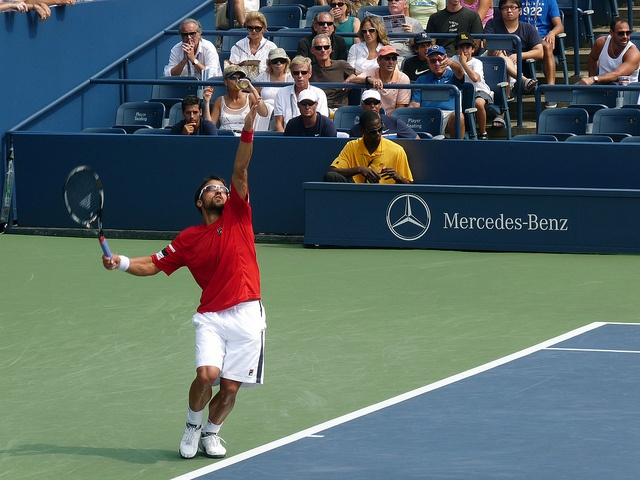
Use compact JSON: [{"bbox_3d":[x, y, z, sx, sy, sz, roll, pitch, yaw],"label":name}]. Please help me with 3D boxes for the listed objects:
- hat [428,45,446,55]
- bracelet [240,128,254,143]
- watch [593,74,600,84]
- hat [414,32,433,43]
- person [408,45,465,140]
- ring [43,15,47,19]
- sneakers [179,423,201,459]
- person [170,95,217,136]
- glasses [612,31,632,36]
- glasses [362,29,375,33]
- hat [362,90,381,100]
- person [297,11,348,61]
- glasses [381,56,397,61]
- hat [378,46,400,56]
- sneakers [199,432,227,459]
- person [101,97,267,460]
[{"bbox_3d":[1.819,-3.054,14.154,0.210,0.157,0.293,-5,-2,12],"label":"hat"},{"bbox_3d":[-0.504,-0.725,6.129,0.126,0.098,0.096,-1,13,1],"label":"bracelet"},{"bbox_3d":[4.536,-2.678,14.748,0.062,0.086,0.094,2,53,-7],"label":"watch"},{"bbox_3d":[1.681,-3.387,14.850,0.268,0.184,0.361,0,13,4],"label":"hat"},{"bbox_3d":[1.809,-2.322,13.878,0.828,1.373,1.421,1,13,8],"label":"person"},{"bbox_3d":[-4.396,-3.584,14.210,0.010,0.039,0.042,40,29,31],"label":"ring"},{"bbox_3d":[-0.882,1.360,6.014,0.109,0.112,0.287,6,49,-6],"label":"sneakers"},{"bbox_3d":[-1.866,-1.776,13.212,0.763,0.900,0.586,-1,7,-5],"label":"person"},{"bbox_3d":[5.076,-3.495,14.943,0.283,0.092,0.109,-11,16,-38],"label":"glasses"},{"bbox_3d":[0.776,-3.525,14.937,0.272,0.092,0.087,7,15,32],"label":"glasses"},{"bbox_3d":[0.694,-2.050,12.538,0.279,0.141,0.392,-1,-2,2],"label":"hat"},{"bbox_3d":[-0.031,-3.406,15.281,0.971,0.962,0.638,3,2,-14],"label":"person"},{"bbox_3d":[1.049,-2.864,13.920,0.253,0.091,0.126,-2,13,-7],"label":"glasses"},{"bbox_3d":[1.035,-2.976,13.934,0.263,0.141,0.215,0,13,4],"label":"hat"},{"bbox_3d":[-0.740,1.396,6.079,0.102,0.094,0.231,-4,5,-31],"label":"sneakers"},{"bbox_3d":[-0.747,0.284,6.149,0.685,2.294,0.770,-4,13,-10],"label":"person"}]
